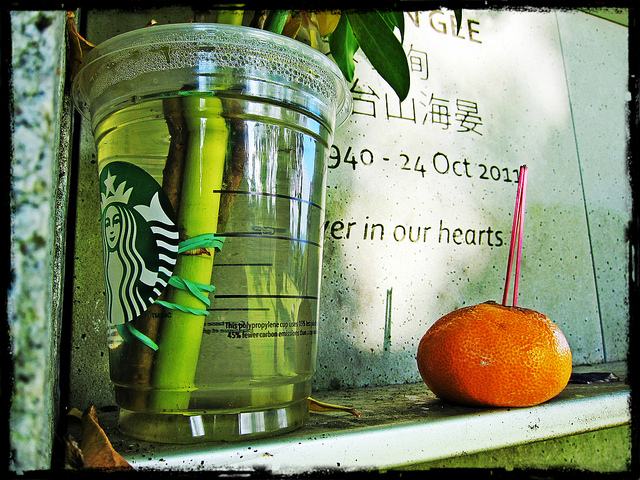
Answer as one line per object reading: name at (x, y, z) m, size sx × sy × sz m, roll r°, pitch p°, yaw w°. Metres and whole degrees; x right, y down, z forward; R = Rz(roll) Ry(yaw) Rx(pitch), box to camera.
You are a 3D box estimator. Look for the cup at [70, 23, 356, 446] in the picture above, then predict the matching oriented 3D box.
cup at (-0.126, -0.012, 0.737) m, size 0.288 × 0.405 × 0.223 m, roll 6°, pitch -8°, yaw -27°
